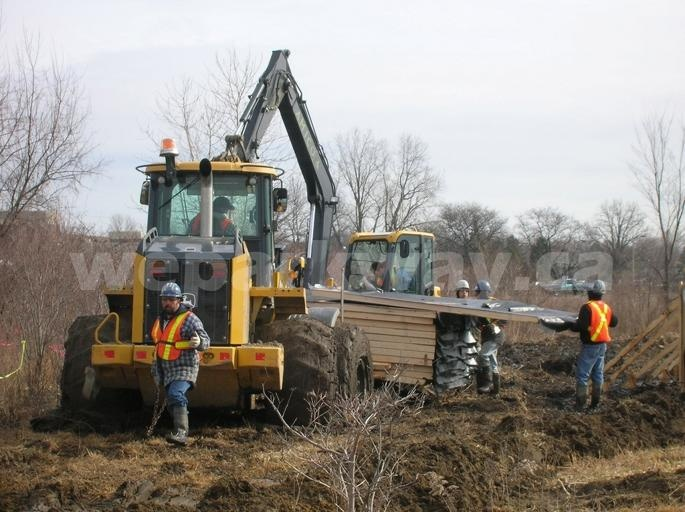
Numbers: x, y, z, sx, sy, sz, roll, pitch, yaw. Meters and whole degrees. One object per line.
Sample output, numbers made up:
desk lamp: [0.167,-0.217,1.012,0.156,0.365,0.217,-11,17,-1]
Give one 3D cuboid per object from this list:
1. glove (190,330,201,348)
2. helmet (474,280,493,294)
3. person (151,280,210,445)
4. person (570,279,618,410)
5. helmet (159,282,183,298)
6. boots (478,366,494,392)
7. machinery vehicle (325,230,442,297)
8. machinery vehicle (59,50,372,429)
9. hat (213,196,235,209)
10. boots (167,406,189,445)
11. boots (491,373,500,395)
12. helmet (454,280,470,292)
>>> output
glove: [-1.787,1.051,9.854,0.136,0.248,0.164,-5,-1,11]
helmet: [2.592,0.601,14.989,0.202,0.158,0.282,0,1,-24]
person: [-2.008,1.323,9.812,0.699,2.019,0.419,2,0,-3]
person: [3.970,1.404,12.692,0.607,1.892,1.016,2,0,22]
helmet: [-2.100,0.442,9.899,0.167,0.140,0.241,2,-7,0]
boots: [2.471,2.171,13.937,0.266,0.427,0.254,2,0,10]
machinery vehicle: [1.059,0.413,16.220,1.328,1.861,1.929,2,-1,45]
machinery vehicle: [-1.372,-0.260,12.909,3.597,5.786,6.112,0,-1,15]
hat: [-1.641,-0.696,10.968,0.139,0.127,0.228,-3,3,-33]
boots: [-2.003,2.078,9.827,0.212,0.475,0.535,2,0,-8]
boots: [2.628,2.216,13.761,0.114,0.354,0.192,2,0,6]
helmet: [2.254,0.591,15.362,0.247,0.164,0.292,1,-6,-44]
